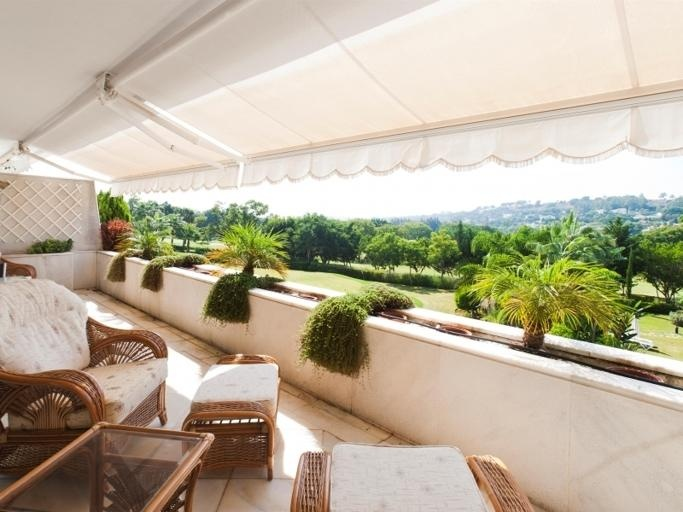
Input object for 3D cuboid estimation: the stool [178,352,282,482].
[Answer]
[{"bbox_3d":[-0.924,1.317,3.577,0.782,0.532,1.144,0,7,-9],"label":"stool"}]
